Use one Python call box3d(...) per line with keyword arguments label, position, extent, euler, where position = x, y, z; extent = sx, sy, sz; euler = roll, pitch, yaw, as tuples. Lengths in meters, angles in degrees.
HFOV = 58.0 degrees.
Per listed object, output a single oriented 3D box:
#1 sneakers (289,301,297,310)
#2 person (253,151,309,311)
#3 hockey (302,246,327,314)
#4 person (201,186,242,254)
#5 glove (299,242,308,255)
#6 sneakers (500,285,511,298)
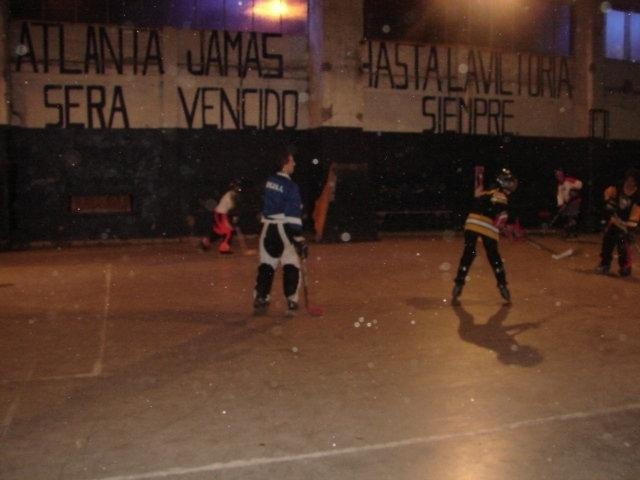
box3d(label="sneakers", position=(-0.414, 1.011, 8.829), extent=(0.128, 0.145, 0.083), euler=(0, 6, 1))
box3d(label="person", position=(-0.610, -0.103, 8.940), extent=(0.834, 2.482, 0.568), euler=(0, 6, 1))
box3d(label="hockey", position=(-0.103, 0.796, 11.104), extent=(0.289, 1.189, 0.274), euler=(-5, 40, 4))
box3d(label="person", position=(-3.086, -0.627, 17.691), extent=(1.102, 2.305, 0.959), euler=(-6, 36, -22))
box3d(label="glove", position=(-0.252, 0.142, 8.780), extent=(0.115, 0.229, 0.211), euler=(0, 7, -2))
box3d(label="sneakers", position=(3.121, 0.874, 9.720), extent=(0.101, 0.088, 0.208), euler=(-15, 55, -6))
